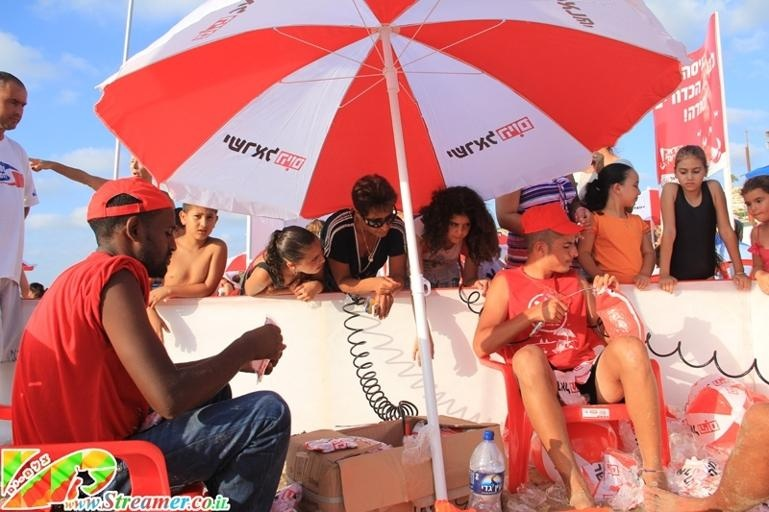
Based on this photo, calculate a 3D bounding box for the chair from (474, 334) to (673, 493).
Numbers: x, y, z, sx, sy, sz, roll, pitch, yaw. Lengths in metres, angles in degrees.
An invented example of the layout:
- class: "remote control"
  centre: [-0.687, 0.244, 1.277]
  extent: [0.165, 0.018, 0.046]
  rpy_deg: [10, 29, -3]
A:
- class: "chair"
  centre: [1.187, 1.092, 4.106]
  extent: [1.026, 1.052, 1.355]
  rpy_deg: [1, 21, 0]

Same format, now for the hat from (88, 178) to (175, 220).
- class: "hat"
  centre: [-1.346, -0.289, 3.336]
  extent: [0.314, 0.129, 0.233]
  rpy_deg: [-13, -6, 26]

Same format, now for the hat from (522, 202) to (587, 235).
- class: "hat"
  centre: [1.352, -0.293, 4.678]
  extent: [0.548, 0.249, 0.369]
  rpy_deg: [5, 9, 26]
